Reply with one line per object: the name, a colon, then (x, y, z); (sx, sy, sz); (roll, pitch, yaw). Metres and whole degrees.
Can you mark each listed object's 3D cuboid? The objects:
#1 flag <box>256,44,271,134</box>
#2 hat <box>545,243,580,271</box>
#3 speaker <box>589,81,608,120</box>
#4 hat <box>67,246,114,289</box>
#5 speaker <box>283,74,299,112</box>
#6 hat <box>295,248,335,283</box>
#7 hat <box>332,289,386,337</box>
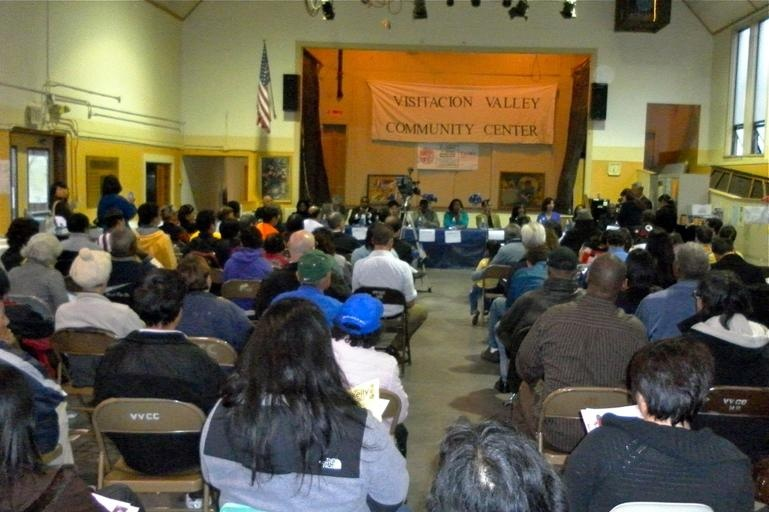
flag: (-2.601, -3.662, 14.491); (0.376, 1.936, 0.781); (-2, 11, -10)
hat: (1.378, 0.018, 5.188); (0.223, 0.177, 0.201); (2, 10, 13)
speaker: (4.694, -3.392, 14.710); (0.335, 0.805, 0.230); (1, 11, 5)
hat: (-2.093, 0.088, 4.788); (0.253, 0.296, 0.203); (-6, 12, -28)
speaker: (-2.024, -3.571, 14.672); (0.356, 0.781, 0.239); (0, 11, 0)
hat: (-0.518, 0.085, 5.060); (0.205, 0.229, 0.269); (5, 11, 25)
hat: (-0.152, 0.364, 4.025); (0.281, 0.263, 0.235); (-1, 10, -5)
